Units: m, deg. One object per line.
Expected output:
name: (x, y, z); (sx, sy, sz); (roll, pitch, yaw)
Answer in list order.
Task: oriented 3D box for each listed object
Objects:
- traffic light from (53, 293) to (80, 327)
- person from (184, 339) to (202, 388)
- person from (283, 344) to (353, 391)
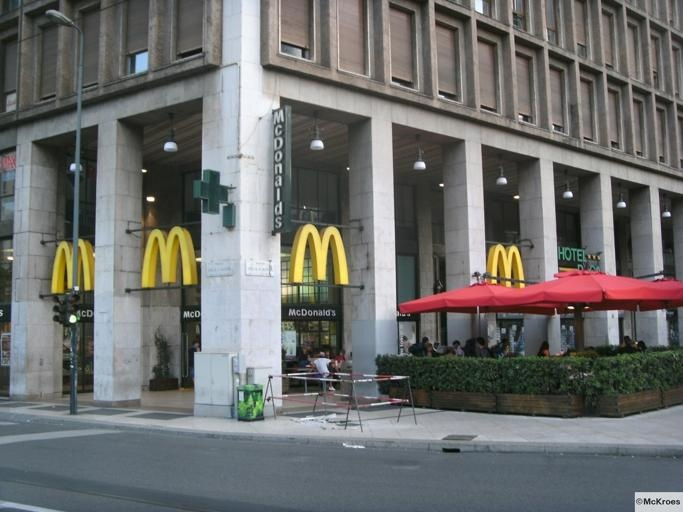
traffic light: (-9.755, 1.889, 30.986); (1.215, 1.214, 0.670); (1, 4, 38)
person: (-6.573, 4.782, 38.909); (0.493, 2.059, 0.990); (-3, 3, -28)
person: (-1.082, 4.697, 36.371); (1.544, 1.093, 2.332); (-5, -6, 38)
